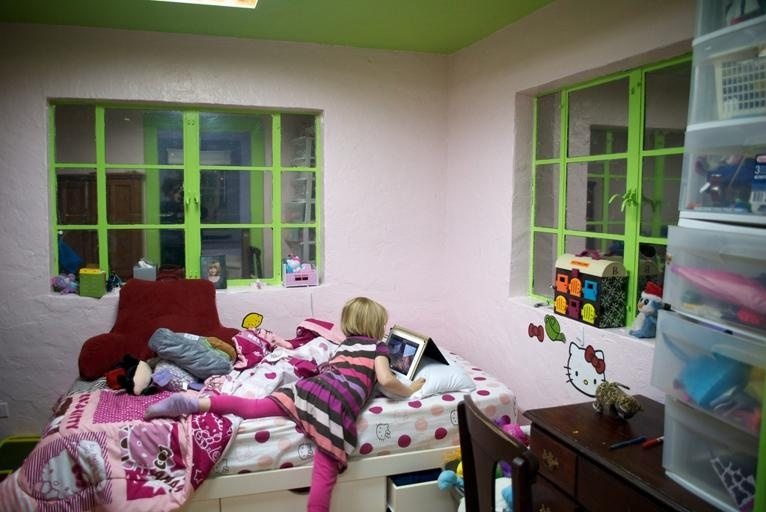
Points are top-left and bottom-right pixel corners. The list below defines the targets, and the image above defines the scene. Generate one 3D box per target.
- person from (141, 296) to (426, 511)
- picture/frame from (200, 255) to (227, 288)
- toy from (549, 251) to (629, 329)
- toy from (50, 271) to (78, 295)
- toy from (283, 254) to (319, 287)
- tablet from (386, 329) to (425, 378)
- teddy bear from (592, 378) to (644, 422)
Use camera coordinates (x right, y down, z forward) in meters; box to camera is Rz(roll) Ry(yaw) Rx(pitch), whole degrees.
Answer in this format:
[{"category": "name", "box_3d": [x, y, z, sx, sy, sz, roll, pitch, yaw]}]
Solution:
[{"category": "person", "box_3d": [-0.396, 0.635, 2.961, 1.041, 0.638, 1.401, 14, 16, 27]}, {"category": "picture/frame", "box_3d": [-1.417, 0.135, 4.188, 0.196, 0.265, 0.133, -1, -1, -23]}, {"category": "toy", "box_3d": [1.328, 0.200, 3.271, 0.213, 0.437, 0.405, -6, 11, -24]}, {"category": "toy", "box_3d": [-2.454, 0.211, 3.852, 0.146, 0.069, 0.163, -1, 6, -16]}, {"category": "toy", "box_3d": [-0.695, 0.112, 4.224, 0.258, 0.257, 0.247, -1, 6, -18]}, {"category": "tablet", "box_3d": [0.140, 0.630, 3.270, 0.288, 0.272, 0.069, 21, 2, 44]}, {"category": "teddy bear", "box_3d": [1.163, 0.709, 2.508, 0.153, 0.160, 0.237, -5, 10, -18]}]
